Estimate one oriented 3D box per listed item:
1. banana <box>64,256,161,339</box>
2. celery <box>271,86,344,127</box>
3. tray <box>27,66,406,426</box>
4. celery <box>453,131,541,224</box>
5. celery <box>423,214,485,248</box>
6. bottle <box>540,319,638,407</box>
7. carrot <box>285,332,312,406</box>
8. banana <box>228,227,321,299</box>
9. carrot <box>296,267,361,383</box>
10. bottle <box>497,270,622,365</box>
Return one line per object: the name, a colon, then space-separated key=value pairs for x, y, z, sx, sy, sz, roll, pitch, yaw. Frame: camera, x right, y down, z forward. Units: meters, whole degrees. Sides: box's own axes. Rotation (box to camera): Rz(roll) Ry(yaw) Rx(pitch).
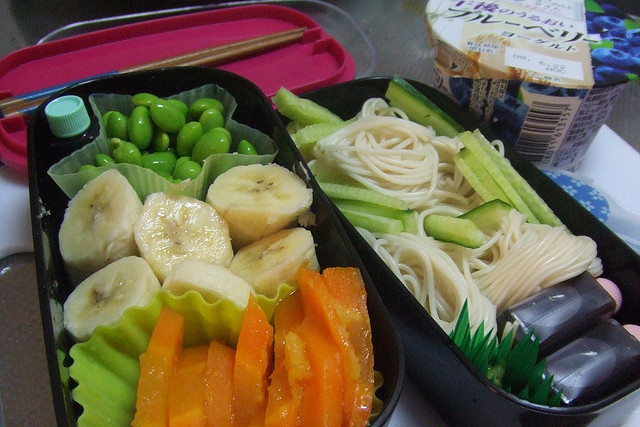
banana: x=-0.642 y=0.256 z=1.545 sx=0.293 sy=0.096 sz=0.191 roll=-24 pitch=54 yaw=-16
celery: x=-0.073 y=-0.419 z=2.103 sx=0.342 sy=0.105 sz=0.112 roll=21 pitch=69 yaw=-10
tray: x=-0.436 y=0.091 z=1.774 sx=1.030 sy=1.033 sz=1.365 roll=18 pitch=50 yaw=-36
celery: x=0.653 y=-0.130 z=1.984 sx=0.146 sy=0.055 sz=0.560 roll=-38 pitch=72 yaw=13
celery: x=0.469 y=0.070 z=1.814 sx=0.280 sy=0.077 sz=0.101 roll=17 pitch=96 yaw=33
bottle: x=0.842 y=0.475 z=1.571 sx=0.342 sy=0.058 sz=0.170 roll=-24 pitch=55 yaw=-15
carrot: x=-0.059 y=0.416 z=1.380 sx=0.065 sy=0.076 sz=0.174 roll=-12 pitch=52 yaw=-7
banana: x=-0.143 y=0.148 z=1.606 sx=0.239 sy=0.074 sz=0.234 roll=-26 pitch=44 yaw=3
carrot: x=-0.026 y=0.289 z=1.442 sx=0.095 sy=0.152 sz=0.418 roll=-19 pitch=66 yaw=-5
bottle: x=0.833 y=0.368 z=1.751 sx=0.447 sy=0.135 sz=0.204 roll=-25 pitch=50 yaw=-19
